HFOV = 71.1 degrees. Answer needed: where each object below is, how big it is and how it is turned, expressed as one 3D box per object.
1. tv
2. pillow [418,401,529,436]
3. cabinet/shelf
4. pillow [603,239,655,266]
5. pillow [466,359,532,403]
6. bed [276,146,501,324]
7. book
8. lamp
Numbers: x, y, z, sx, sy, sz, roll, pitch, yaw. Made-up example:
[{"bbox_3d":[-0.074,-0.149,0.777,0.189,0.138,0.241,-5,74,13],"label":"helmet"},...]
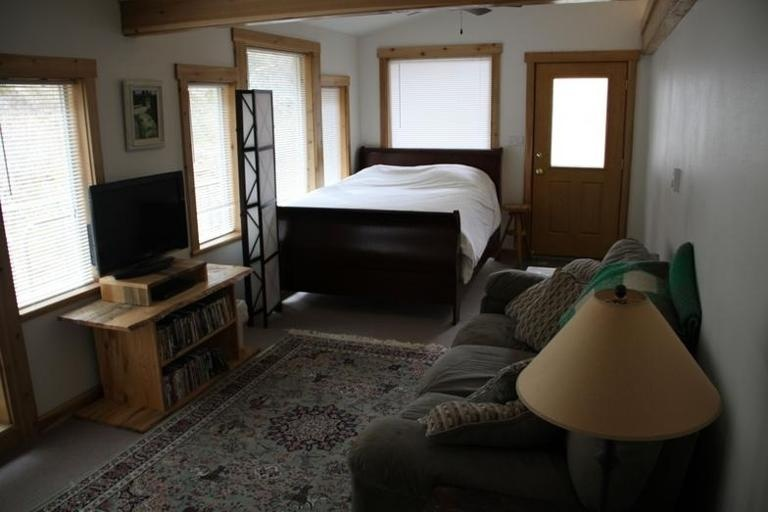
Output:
[{"bbox_3d":[-1.859,-0.270,4.130,0.089,0.668,0.922,8,18,19],"label":"tv"},{"bbox_3d":[0.504,0.785,2.669,0.503,0.145,0.631,-7,-17,6],"label":"pillow"},{"bbox_3d":[-1.673,0.592,4.299,0.780,0.882,1.418,7,15,18],"label":"cabinet/shelf"},{"bbox_3d":[1.660,-0.027,3.653,0.245,0.084,0.286,6,17,29],"label":"pillow"},{"bbox_3d":[0.549,0.625,2.585,0.242,0.129,0.335,-15,-5,29],"label":"pillow"},{"bbox_3d":[0.259,-0.456,6.209,1.950,1.569,2.475,4,13,19],"label":"bed"},{"bbox_3d":[-1.467,0.740,4.052,0.277,0.631,0.763,-1,10,6],"label":"book"},{"bbox_3d":[0.768,0.327,1.715,0.614,0.443,0.297,-1,16,-2],"label":"lamp"}]
